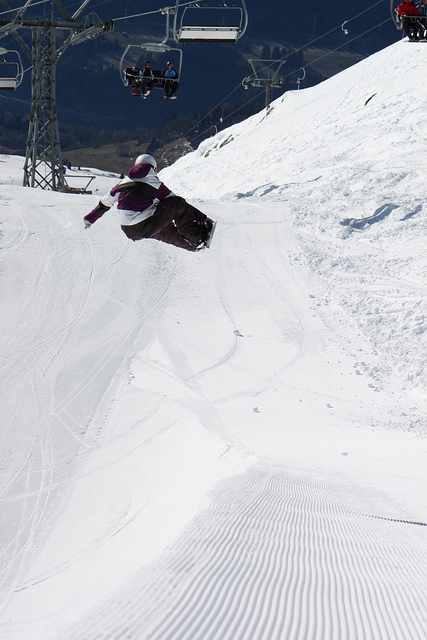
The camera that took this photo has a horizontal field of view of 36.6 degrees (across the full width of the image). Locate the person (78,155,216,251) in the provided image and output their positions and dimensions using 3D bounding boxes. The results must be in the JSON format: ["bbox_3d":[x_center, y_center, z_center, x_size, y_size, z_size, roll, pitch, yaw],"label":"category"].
[{"bbox_3d":[-0.759,-1.347,7.801,1.631,1.172,0.762,-7,5,-13],"label":"person"}]
